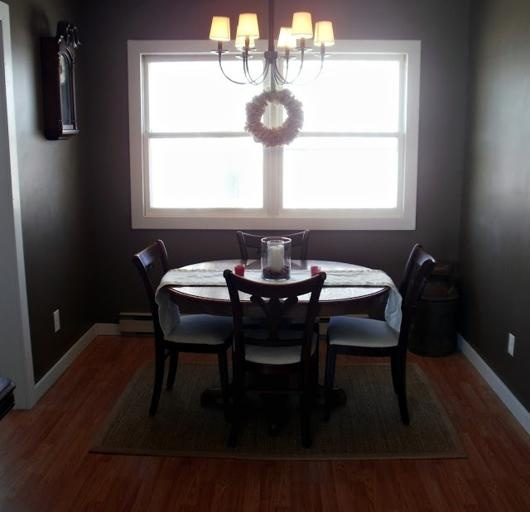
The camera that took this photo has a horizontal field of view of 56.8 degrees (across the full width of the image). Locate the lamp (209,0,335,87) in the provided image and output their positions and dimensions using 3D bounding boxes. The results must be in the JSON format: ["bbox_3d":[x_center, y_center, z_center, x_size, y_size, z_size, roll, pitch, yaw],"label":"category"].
[{"bbox_3d":[0.065,-1.361,3.095,0.488,0.645,0.591,5,19,14],"label":"lamp"}]
